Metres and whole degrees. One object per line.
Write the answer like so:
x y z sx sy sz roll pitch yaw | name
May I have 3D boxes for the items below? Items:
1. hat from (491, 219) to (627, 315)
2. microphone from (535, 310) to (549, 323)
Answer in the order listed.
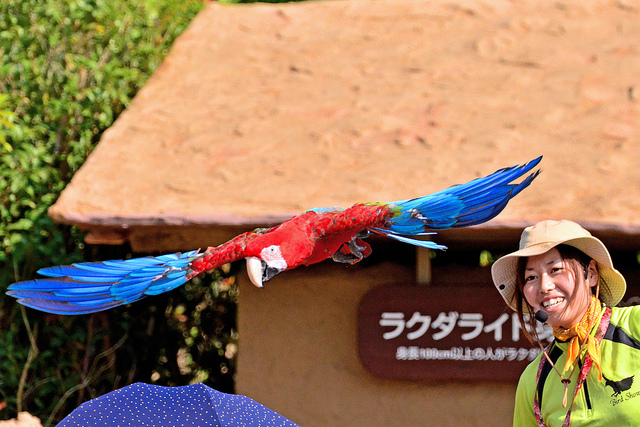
2.075 0.377 9.657 1.024 0.858 0.489 26 43 -25 | hat
1.882 0.864 9.510 0.103 0.091 0.089 15 93 2 | microphone
